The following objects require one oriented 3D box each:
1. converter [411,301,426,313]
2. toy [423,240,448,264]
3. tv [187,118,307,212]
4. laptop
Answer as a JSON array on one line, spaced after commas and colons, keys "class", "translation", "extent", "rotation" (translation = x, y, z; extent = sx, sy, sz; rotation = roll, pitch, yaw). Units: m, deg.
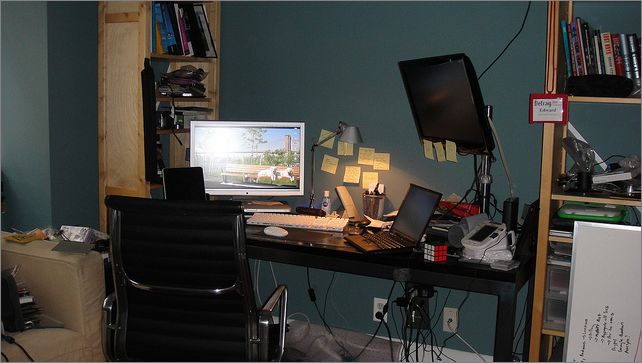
[{"class": "converter", "translation": [0.715, 0.903, 3.462], "extent": [0.111, 0.094, 0.077], "rotation": [11, 5, 15]}, {"class": "toy", "translation": [0.740, 0.464, 3.122], "extent": [0.141, 0.118, 0.136], "rotation": [0, 1, -32]}, {"class": "tv", "translation": [-0.604, -0.141, 3.796], "extent": [0.930, 0.580, 0.255], "rotation": [1, 1, 3]}, {"class": "laptop", "translation": [0.480, 0.241, 3.301], "extent": [0.568, 0.339, 0.522], "rotation": [2, 5, -19]}]
